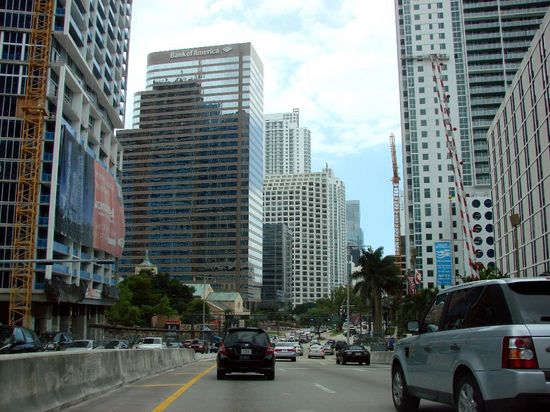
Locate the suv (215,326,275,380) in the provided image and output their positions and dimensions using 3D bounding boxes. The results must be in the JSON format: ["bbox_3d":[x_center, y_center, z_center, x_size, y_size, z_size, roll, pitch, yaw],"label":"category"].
[{"bbox_3d":[-0.741,5.417,24.962,2.423,1.700,4.299,-1,-3,5],"label":"suv"}]
